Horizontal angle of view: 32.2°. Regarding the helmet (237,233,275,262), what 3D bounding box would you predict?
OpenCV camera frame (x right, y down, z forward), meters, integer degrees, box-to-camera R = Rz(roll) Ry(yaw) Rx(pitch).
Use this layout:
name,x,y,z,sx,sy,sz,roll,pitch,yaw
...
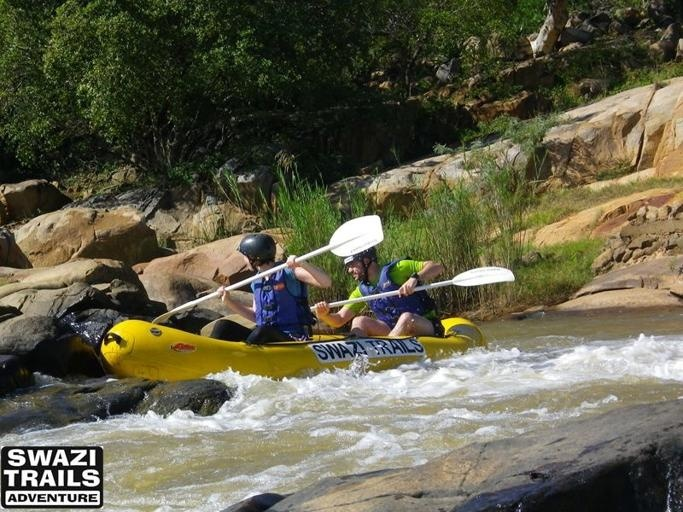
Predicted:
name,x,y,z,sx,sy,sz,roll,pitch,yaw
helmet,-1.365,-0.122,19.431,0.567,0.374,0.401,-6,29,6

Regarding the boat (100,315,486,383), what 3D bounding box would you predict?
name,x,y,z,sx,sy,sz,roll,pitch,yaw
boat,-0.785,1.588,19.310,6.025,0.968,1.854,0,-2,-16

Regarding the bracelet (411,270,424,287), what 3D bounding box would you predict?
name,x,y,z,sx,sy,sz,roll,pitch,yaw
bracelet,1.267,0.420,19.699,0.179,0.232,0.258,-2,36,2
